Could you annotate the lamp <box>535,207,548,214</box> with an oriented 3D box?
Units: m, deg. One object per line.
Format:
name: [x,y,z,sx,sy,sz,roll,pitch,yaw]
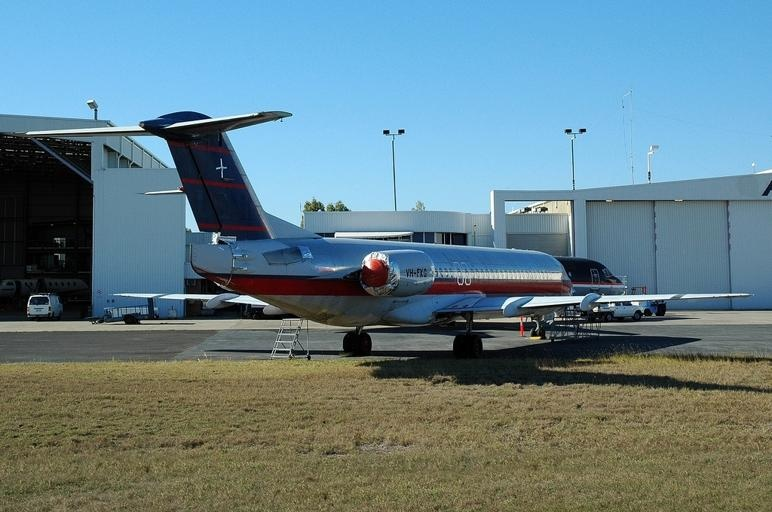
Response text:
lamp: [11.491,-3.521,68.390,0.601,0.199,1.007,0,-2,-11]

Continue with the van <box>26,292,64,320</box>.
van: [-20.783,2.962,55.659,1.446,1.053,2.291,0,2,5]

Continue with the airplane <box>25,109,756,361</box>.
airplane: [-0.176,-0.658,31.322,22.565,8.622,7.734,-5,13,-28]
